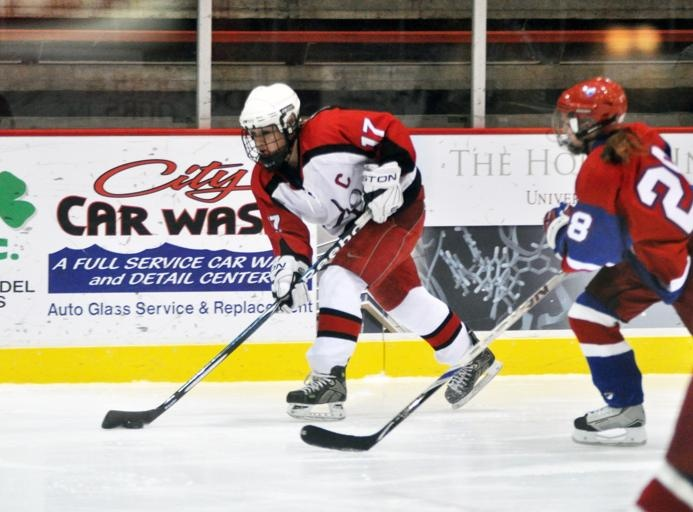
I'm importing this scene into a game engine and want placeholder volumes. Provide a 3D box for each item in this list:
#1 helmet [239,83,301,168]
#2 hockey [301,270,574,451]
[{"bbox_3d":[-0.348,-0.593,5.642,0.265,0.379,0.133,1,7,-1],"label":"helmet"},{"bbox_3d":[0.580,0.422,5.887,2.078,0.230,0.176,-31,-8,-36],"label":"hockey"}]
